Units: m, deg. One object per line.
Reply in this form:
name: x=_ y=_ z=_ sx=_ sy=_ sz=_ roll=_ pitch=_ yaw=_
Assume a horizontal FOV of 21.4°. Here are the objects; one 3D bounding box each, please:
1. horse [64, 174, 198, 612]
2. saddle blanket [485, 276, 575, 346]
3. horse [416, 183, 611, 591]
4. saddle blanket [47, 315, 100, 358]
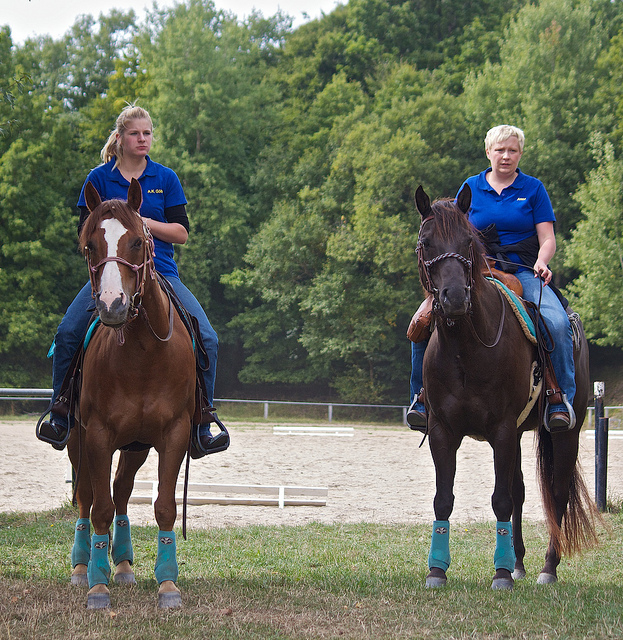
horse: x=-3.372 y=1.337 z=28.985 sx=1.952 sy=7.503 sz=1.947 roll=-3 pitch=-4 yaw=34
saddle blanket: x=3.707 y=-0.124 z=30.031 sx=0.888 sy=1.252 sz=0.339 roll=-1 pitch=-3 yaw=-1
horse: x=3.400 y=1.225 z=29.872 sx=3.431 sy=7.245 sz=1.071 roll=2 pitch=-4 yaw=-36
saddle blanket: x=-4.425 y=0.358 z=30.722 sx=1.179 sy=1.119 sz=0.298 roll=2 pitch=23 yaw=-11
